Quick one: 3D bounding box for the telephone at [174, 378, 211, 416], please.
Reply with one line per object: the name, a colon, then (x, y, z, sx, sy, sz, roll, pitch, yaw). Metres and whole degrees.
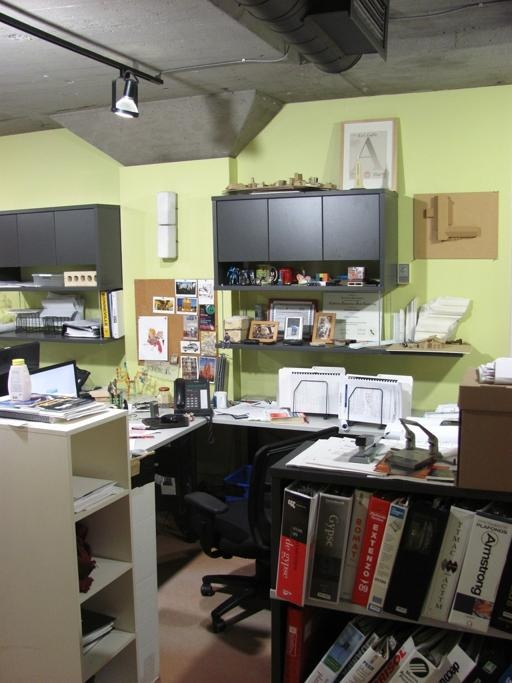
telephone: (-0.419, 0.368, 3.696, 0.198, 0.254, 0.108, -1, -8, 2)

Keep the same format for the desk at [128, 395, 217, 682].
desk: (-0.420, 1.010, 2.865, 0.350, 0.908, 1.073, -1, 6, -4)

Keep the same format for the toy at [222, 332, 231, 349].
toy: (-0.201, -0.012, 3.880, 0.048, 0.109, 0.156, -4, 9, -24)

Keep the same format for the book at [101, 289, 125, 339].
book: (-1.099, -0.214, 4.303, 0.131, 0.342, 0.362, 1, 7, 4)

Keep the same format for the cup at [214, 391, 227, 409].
cup: (-0.239, 0.408, 3.887, 0.109, 0.112, 0.087, 7, 8, 31)

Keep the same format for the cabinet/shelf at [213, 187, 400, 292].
cabinet/shelf: (0.319, -0.644, 3.736, 1.161, 0.677, 0.456, 3, 9, 23)

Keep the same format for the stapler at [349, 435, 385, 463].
stapler: (0.321, 0.324, 1.688, 0.048, 0.060, 0.161, 0, 0, 17)

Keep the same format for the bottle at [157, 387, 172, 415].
bottle: (-0.618, 0.399, 3.840, 0.146, 0.211, 0.140, 0, 1, 0)

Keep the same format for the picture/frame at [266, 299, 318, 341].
picture/frame: (0.263, -0.151, 3.979, 0.323, 0.278, 0.074, -1, -5, 32)

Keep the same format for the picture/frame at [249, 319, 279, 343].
picture/frame: (0.035, -0.065, 3.869, 0.223, 0.139, 0.181, 3, 9, 22)

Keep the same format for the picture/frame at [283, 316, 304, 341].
picture/frame: (0.265, -0.087, 3.852, 0.176, 0.233, 0.024, 0, -7, 16)

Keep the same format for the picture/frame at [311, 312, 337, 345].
picture/frame: (0.452, -0.087, 3.765, 0.158, 0.201, 0.225, 1, 9, 9)

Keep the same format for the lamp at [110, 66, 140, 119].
lamp: (-0.627, -1.232, 2.799, 0.143, 0.200, 0.109, 7, 21, -23)
